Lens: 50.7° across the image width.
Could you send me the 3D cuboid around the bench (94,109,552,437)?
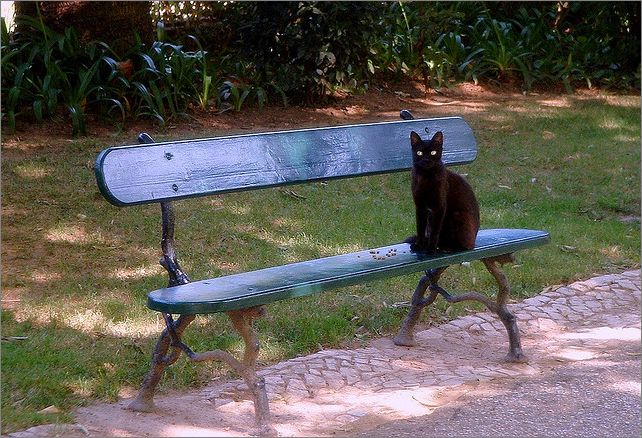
[{"bbox_3d":[-0.044,0.542,5.984,2.960,1.567,1.291,-5,7,-39],"label":"bench"}]
